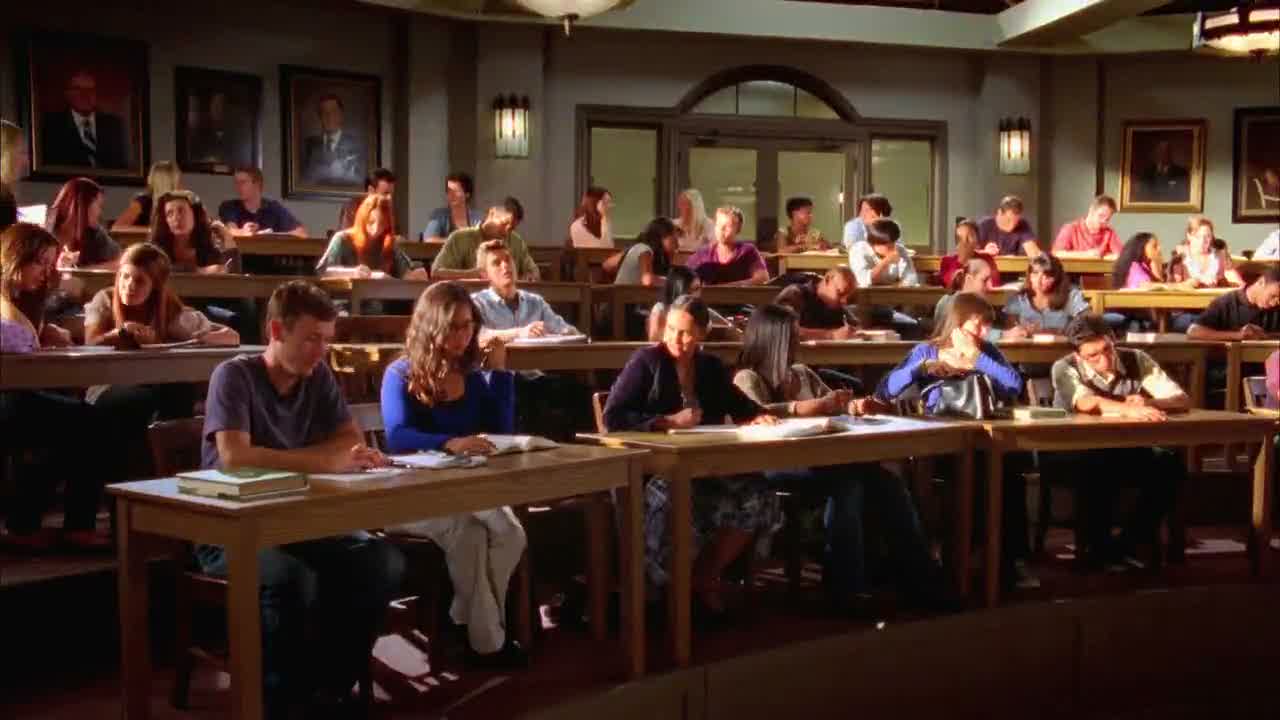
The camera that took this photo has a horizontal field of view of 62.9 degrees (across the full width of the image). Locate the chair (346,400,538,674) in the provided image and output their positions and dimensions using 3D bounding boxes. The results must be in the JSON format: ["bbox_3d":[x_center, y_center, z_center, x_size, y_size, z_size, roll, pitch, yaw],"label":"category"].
[{"bbox_3d":[-1.227,1.017,5.466,0.864,1.460,1.095,-3,2,-39],"label":"chair"}]

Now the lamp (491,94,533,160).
[{"bbox_3d":[-1.429,-2.587,11.556,0.414,0.693,0.133,0,8,-9],"label":"lamp"}]

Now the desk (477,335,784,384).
[{"bbox_3d":[-0.423,-0.027,6.922,1.165,0.249,0.260,-2,3,-30],"label":"desk"}]

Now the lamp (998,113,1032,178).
[{"bbox_3d":[4.643,-2.622,12.828,0.456,0.705,0.149,-1,8,-15],"label":"lamp"}]

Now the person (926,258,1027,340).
[{"bbox_3d":[2.854,-0.509,8.688,0.841,0.623,0.501,2,16,9],"label":"person"}]

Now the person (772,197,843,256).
[{"bbox_3d":[1.742,-1.417,11.294,0.687,0.807,0.858,-6,8,-42],"label":"person"}]

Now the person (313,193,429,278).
[{"bbox_3d":[-2.099,-0.869,8.040,0.963,0.723,0.679,1,1,-29],"label":"person"}]

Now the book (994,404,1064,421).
[{"bbox_3d":[2.348,0.305,6.166,0.435,0.059,0.274,-4,9,-35],"label":"book"}]

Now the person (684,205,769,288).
[{"bbox_3d":[0.712,-0.942,9.184,0.964,0.738,0.525,1,5,8],"label":"person"}]

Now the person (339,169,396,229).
[{"bbox_3d":[-2.565,-1.428,9.787,0.420,0.763,0.457,9,20,-19],"label":"person"}]

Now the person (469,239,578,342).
[{"bbox_3d":[-0.866,-0.493,7.645,0.918,0.685,0.484,-22,7,-42],"label":"person"}]

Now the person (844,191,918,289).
[{"bbox_3d":[2.219,-1.106,9.548,0.579,0.794,0.953,2,8,6],"label":"person"}]

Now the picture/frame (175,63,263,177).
[{"bbox_3d":[-4.379,-2.474,10.839,0.843,1.088,0.187,-1,8,-18],"label":"picture/frame"}]

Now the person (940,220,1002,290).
[{"bbox_3d":[3.254,-0.964,10.324,0.580,0.741,0.434,-7,-3,16],"label":"person"}]
